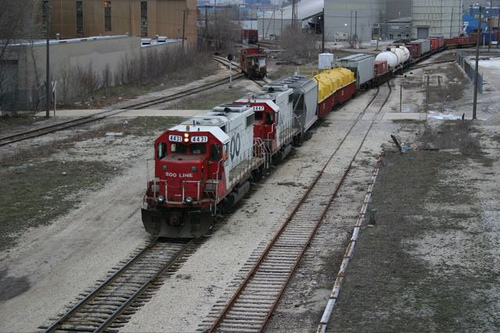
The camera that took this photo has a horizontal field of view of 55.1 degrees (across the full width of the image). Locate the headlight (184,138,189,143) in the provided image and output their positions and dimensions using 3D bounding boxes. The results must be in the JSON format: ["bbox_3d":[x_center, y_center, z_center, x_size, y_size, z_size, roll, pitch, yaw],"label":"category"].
[{"bbox_3d":[-3.122,-1.303,23.418,0.193,0.222,0.048,-1,3,-7],"label":"headlight"}]
